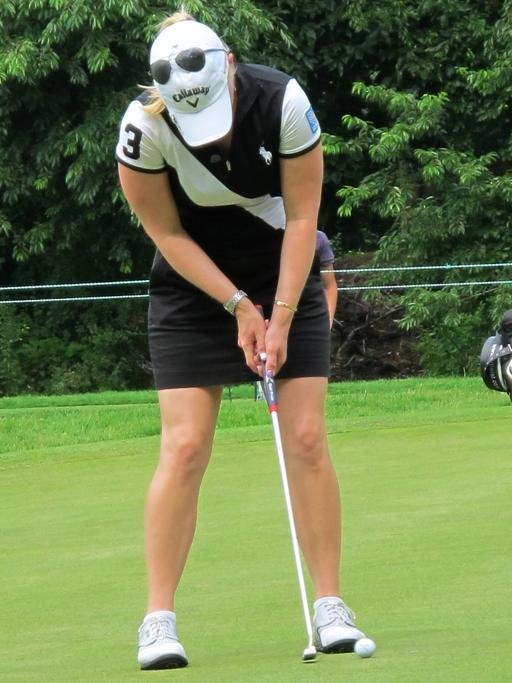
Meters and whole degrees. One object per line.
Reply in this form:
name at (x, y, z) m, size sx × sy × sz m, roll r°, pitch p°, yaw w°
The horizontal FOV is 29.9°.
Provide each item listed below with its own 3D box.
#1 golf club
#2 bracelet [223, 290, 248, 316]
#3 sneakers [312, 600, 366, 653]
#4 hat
golf club at (0.015, 0.311, 2.298) m, size 0.080 × 0.880 × 0.137 m, roll -4°, pitch -24°, yaw -12°
bracelet at (-0.054, -0.096, 2.373) m, size 0.049 × 0.030 × 0.049 m, roll -42°, pitch -14°, yaw -12°
sneakers at (0.185, 0.666, 2.221) m, size 0.098 × 0.070 × 0.166 m, roll -3°, pitch 2°, yaw -1°
hat at (-0.141, -0.591, 2.263) m, size 0.193 × 0.285 × 0.148 m, roll -14°, pitch -14°, yaw 9°
